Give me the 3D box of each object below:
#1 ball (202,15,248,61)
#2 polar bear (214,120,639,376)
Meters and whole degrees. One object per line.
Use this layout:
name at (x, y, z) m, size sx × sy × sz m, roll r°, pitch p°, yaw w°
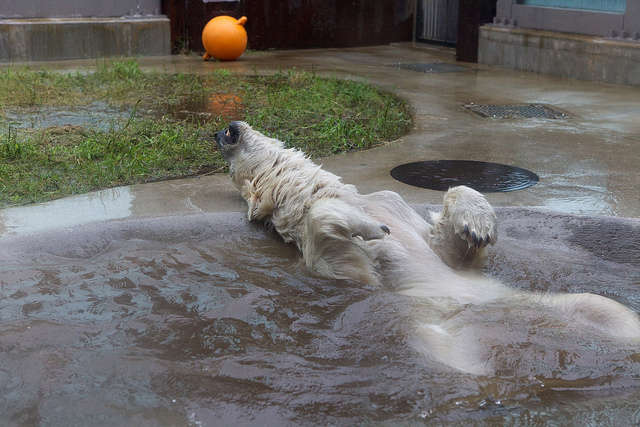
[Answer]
ball at (-1.681, -3.316, 12.754) m, size 1.096 × 0.778 × 0.824 m, roll 3°, pitch 26°, yaw 10°
polar bear at (0.323, 0.335, 4.176) m, size 2.937 × 0.964 × 0.928 m, roll 20°, pitch 51°, yaw 25°
